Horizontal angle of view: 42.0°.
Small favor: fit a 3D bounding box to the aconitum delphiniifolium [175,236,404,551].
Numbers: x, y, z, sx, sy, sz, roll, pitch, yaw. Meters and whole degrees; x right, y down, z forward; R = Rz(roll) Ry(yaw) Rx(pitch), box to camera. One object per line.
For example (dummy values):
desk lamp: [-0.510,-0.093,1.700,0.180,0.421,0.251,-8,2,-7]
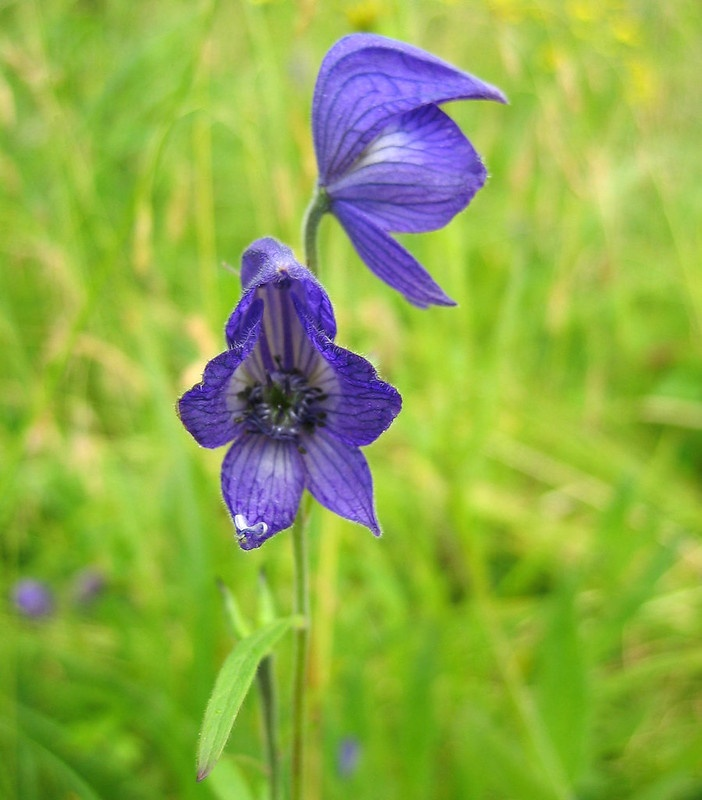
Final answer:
aconitum delphiniifolium: [-0.093,0.030,1.512,0.334,0.546,0.199,-3,3,-1]
